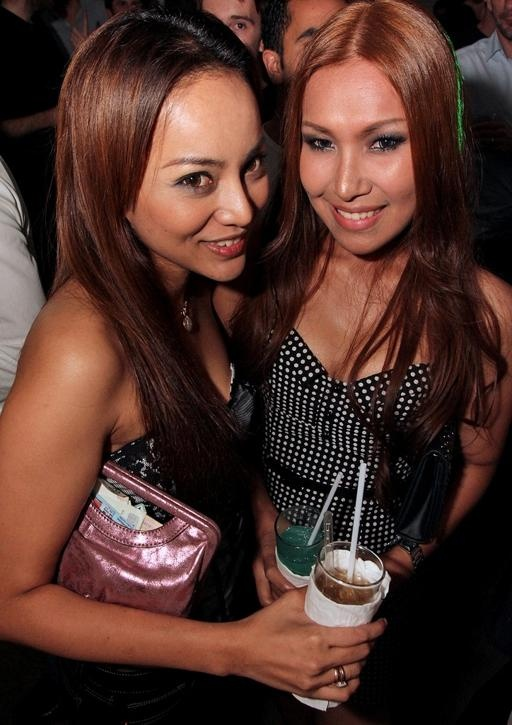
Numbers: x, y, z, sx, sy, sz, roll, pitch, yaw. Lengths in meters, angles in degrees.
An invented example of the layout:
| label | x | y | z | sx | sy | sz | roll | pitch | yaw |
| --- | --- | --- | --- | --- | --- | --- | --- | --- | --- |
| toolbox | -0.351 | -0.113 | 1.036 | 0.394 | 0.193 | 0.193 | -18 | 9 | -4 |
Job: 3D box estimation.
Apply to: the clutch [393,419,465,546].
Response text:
| label | x | y | z | sx | sy | sz | roll | pitch | yaw |
| --- | --- | --- | --- | --- | --- | --- | --- | --- | --- |
| clutch | 0.445 | 0.354 | 1.672 | 0.187 | 0.373 | 0.204 | 17 | 32 | 17 |

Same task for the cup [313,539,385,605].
| label | x | y | z | sx | sy | sz | roll | pitch | yaw |
| --- | --- | --- | --- | --- | --- | --- | --- | --- | --- |
| cup | 0.194 | 0.424 | 1.250 | 0.137 | 0.075 | 0.159 | 18 | 37 | 24 |
